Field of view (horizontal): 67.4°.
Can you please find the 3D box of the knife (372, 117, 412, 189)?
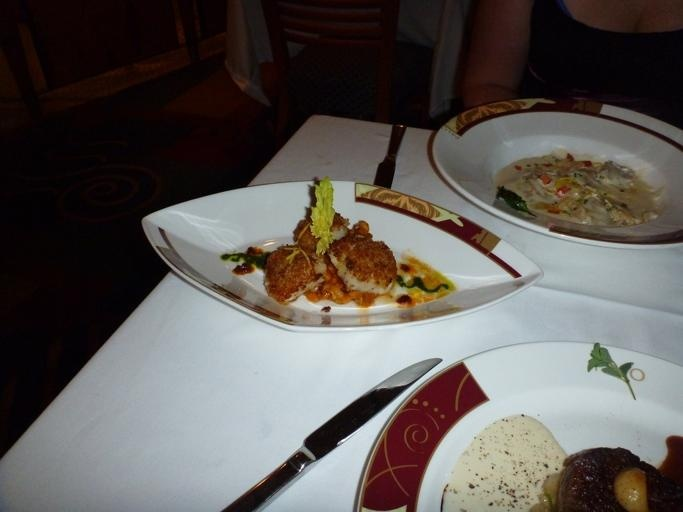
[{"bbox_3d":[0.152,-0.318,1.611,0.054,0.017,0.367,15,46,1],"label":"knife"}]
